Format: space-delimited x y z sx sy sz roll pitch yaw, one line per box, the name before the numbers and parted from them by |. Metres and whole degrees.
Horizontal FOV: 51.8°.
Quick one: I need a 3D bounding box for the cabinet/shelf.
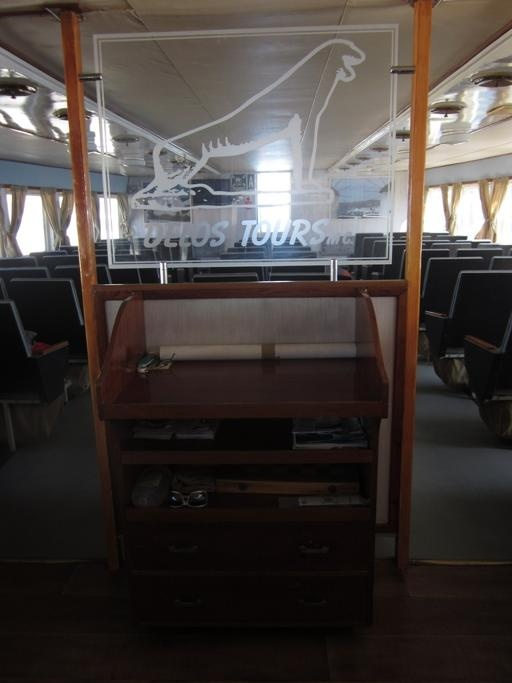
cabinet/shelf | -0.020 0.341 1.668 0.784 0.984 0.537 -1 12 -8
